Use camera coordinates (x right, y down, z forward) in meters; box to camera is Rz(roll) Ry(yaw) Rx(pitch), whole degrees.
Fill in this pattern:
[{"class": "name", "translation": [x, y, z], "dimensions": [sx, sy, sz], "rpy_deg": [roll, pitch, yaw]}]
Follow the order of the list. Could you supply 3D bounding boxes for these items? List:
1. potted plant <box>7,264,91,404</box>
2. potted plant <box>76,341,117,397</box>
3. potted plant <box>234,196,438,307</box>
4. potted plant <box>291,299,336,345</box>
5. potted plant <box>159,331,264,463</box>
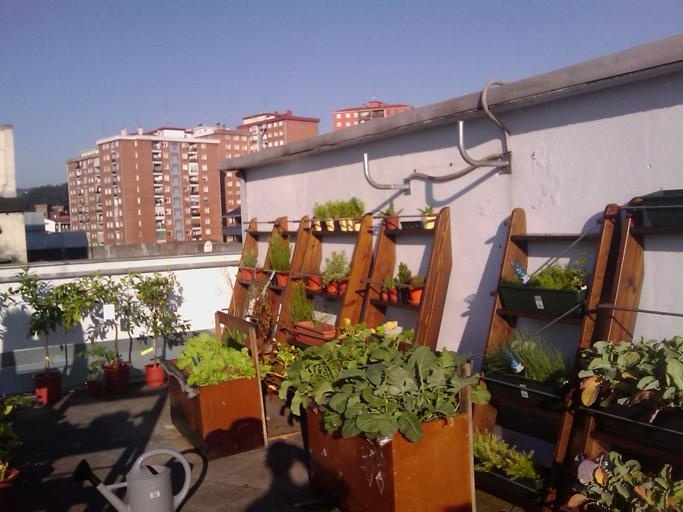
[{"class": "potted plant", "translation": [-4.027, 1.052, 6.351], "dimensions": [1.001, 1.701, 0.824], "rpy_deg": [0, 4, 36]}, {"class": "potted plant", "translation": [-3.448, 1.581, 6.672], "dimensions": [0.624, 0.820, 0.679], "rpy_deg": [-3, 4, -37]}, {"class": "potted plant", "translation": [-0.182, 0.101, 5.523], "dimensions": [0.593, 1.210, 3.411], "rpy_deg": [-5, 4, -39]}, {"class": "potted plant", "translation": [-0.250, 0.790, 5.409], "dimensions": [0.378, 0.514, 0.557], "rpy_deg": [0, -4, -39]}, {"class": "potted plant", "translation": [-1.339, 1.335, 4.715], "dimensions": [0.674, 1.041, 1.023], "rpy_deg": [-6, 9, -37]}]
